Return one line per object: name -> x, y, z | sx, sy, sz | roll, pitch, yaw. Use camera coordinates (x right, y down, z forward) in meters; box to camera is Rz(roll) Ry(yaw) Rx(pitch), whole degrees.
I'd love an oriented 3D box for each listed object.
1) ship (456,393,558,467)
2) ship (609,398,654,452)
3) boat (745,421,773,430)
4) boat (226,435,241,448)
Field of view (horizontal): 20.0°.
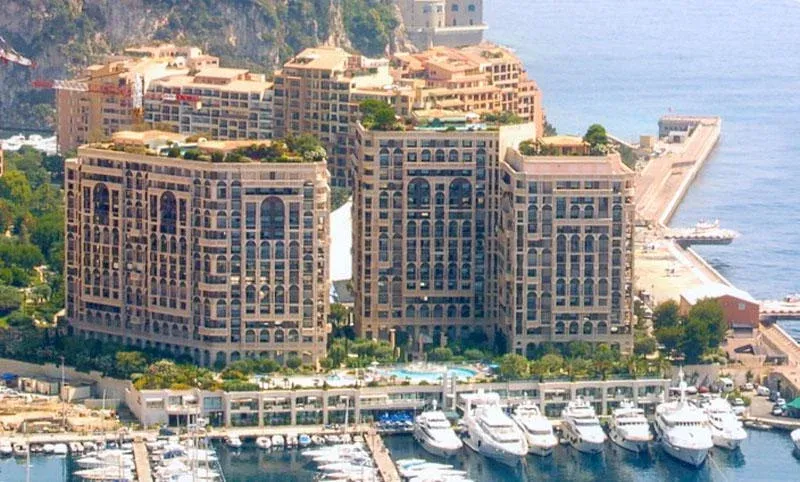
ship -> 23.471, 41.807, 511.872 | 20.560, 14.482, 11.408 | 1, 14, 13
ship -> 54.054, 37.150, 518.860 | 10.020, 3.141, 3.637 | 8, 38, -22
boat -> 81.776, 42.100, 518.764 | 4.658, 0.960, 2.490 | 3, 13, -5
boat -> -37.115, 44.867, 510.296 | 3.263, 2.234, 2.693 | 7, 16, 34
